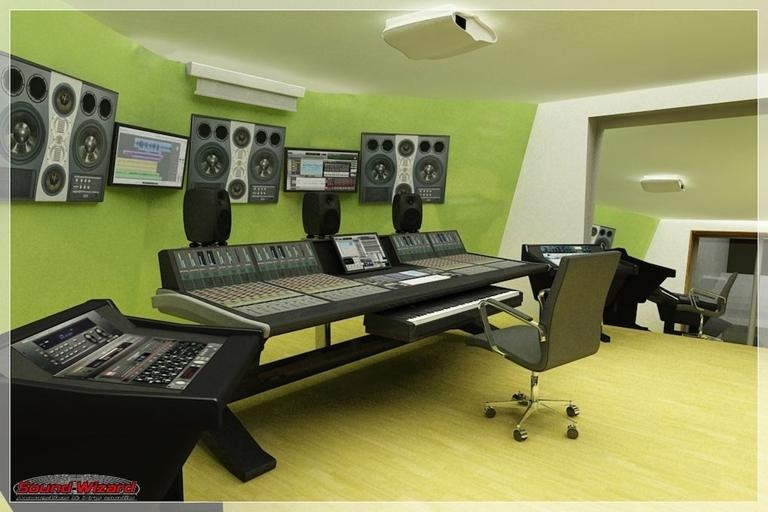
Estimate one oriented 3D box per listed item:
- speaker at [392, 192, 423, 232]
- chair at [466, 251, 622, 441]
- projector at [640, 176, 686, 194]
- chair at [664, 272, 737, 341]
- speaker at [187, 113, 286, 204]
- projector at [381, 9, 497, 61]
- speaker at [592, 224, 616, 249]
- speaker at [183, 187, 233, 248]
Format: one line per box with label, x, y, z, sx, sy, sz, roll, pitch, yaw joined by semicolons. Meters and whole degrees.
speaker;0.258;-0.452;4.687;0.299;0.408;0.209;-6;16;-22
chair;1.210;0.623;3.295;0.965;1.369;0.653;-5;16;-20
projector;4.213;-1.071;6.623;0.653;0.242;0.446;5;15;15
chair;4.512;0.713;6.427;1.075;0.864;0.760;3;2;26
speaker;-1.664;-1.022;4.794;0.368;0.850;1.127;19;17;36
projector;0.469;-1.909;3.972;0.767;0.173;0.749;3;-4;11
speaker;3.515;-0.328;7.089;0.402;0.335;0.205;15;0;-32
speaker;-1.377;-0.308;3.468;0.323;0.440;0.294;-10;18;-35
